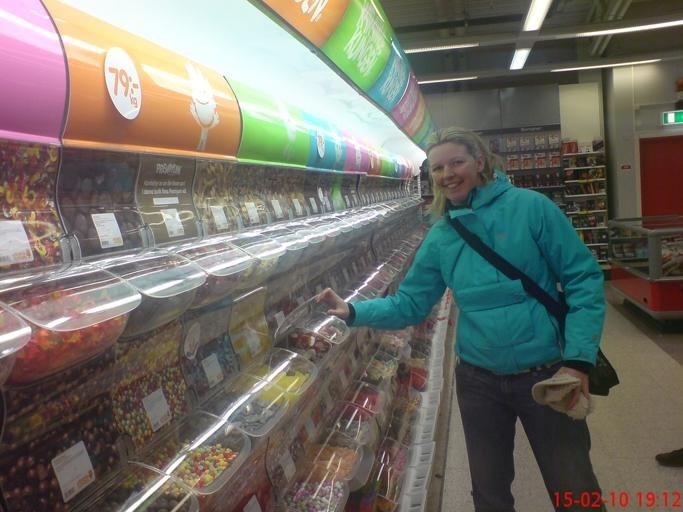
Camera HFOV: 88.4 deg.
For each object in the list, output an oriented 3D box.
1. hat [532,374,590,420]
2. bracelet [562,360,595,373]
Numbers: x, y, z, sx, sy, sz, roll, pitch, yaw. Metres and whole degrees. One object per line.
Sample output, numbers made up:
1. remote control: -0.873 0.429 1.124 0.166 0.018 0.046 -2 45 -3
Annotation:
1. hat: 0.745 0.444 1.170 0.165 0.074 0.162 0 1 -26
2. bracelet: 0.847 0.389 1.231 0.061 0.025 0.065 16 -3 -10
